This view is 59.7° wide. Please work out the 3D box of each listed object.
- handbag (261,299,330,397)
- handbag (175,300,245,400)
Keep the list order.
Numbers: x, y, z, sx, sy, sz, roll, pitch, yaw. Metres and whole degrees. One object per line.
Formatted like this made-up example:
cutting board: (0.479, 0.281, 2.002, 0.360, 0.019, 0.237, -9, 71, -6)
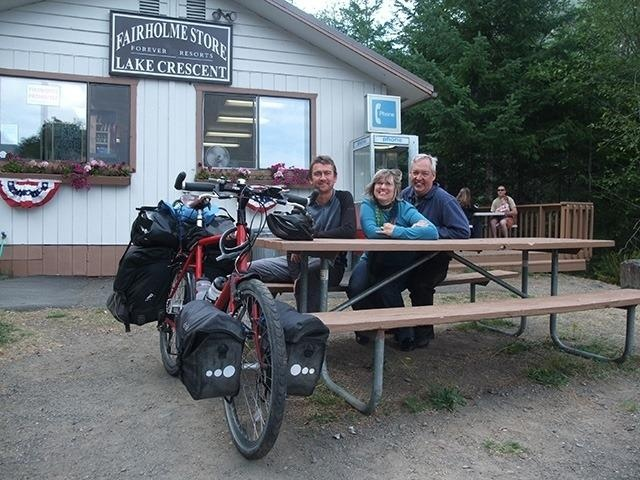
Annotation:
handbag: (-0.201, 0.667, 4.219, 0.331, 0.645, 0.941, 8, 17, -16)
handbag: (-0.785, 0.707, 4.035, 0.480, 0.641, 0.817, -2, 3, -21)
